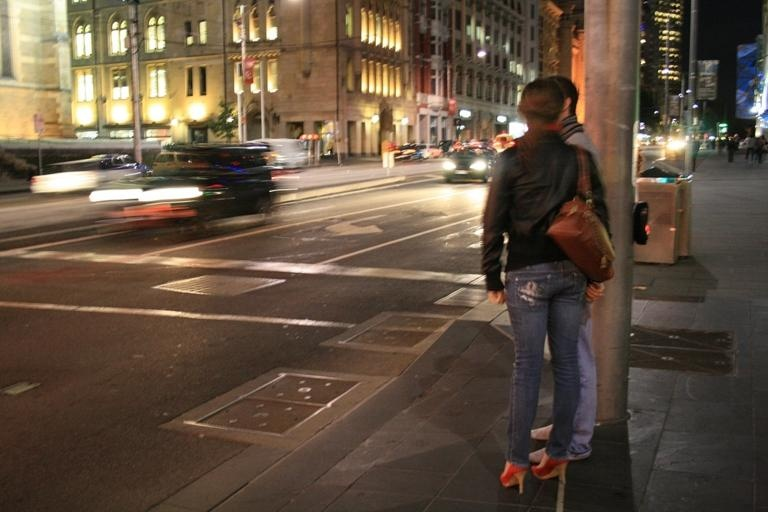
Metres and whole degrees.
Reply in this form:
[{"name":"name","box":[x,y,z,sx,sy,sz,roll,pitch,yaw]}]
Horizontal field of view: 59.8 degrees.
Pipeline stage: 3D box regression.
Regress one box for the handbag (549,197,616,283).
[{"name":"handbag","box":[1.317,-0.102,4.519,0.433,0.448,0.249,-49,29,-20]}]

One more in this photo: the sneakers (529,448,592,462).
[{"name":"sneakers","box":[1.348,1.529,5.116,0.471,0.113,0.172,-1,2,-12]}]

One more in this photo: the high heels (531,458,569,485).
[{"name":"high heels","box":[1.220,1.566,4.913,0.279,0.183,0.140,5,4,17]}]

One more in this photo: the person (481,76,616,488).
[{"name":"person","box":[1.137,0.223,4.723,0.839,2.873,0.427,-8,13,-22]}]

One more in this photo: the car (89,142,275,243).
[{"name":"car","box":[-4.965,-1.755,17.176,2.490,1.619,4.222,3,5,33]}]

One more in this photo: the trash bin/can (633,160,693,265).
[{"name":"trash bin/can","box":[5.092,-0.697,12.153,0.951,1.584,1.728,2,12,23]}]
